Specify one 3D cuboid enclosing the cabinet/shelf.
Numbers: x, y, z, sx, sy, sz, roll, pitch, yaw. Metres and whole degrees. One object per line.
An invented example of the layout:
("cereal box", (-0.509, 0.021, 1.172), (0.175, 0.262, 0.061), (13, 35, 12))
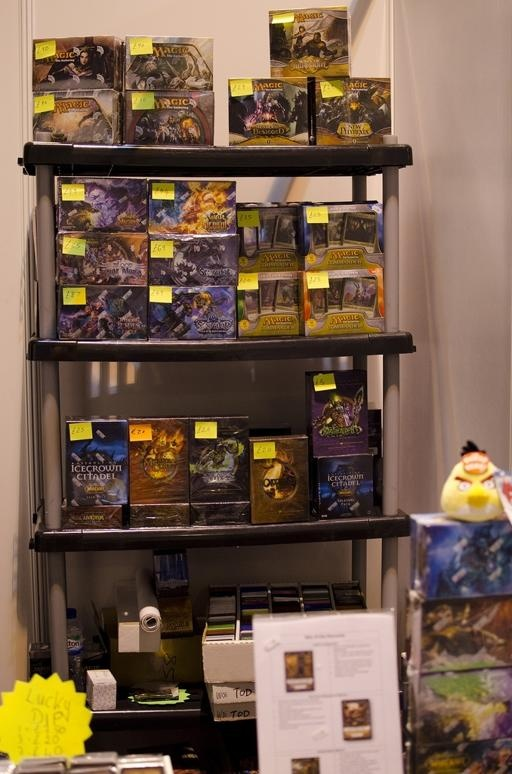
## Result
("cabinet/shelf", (-0.099, 0.017, 2.217), (1.133, 1.452, 0.429), (-6, 8, -7))
